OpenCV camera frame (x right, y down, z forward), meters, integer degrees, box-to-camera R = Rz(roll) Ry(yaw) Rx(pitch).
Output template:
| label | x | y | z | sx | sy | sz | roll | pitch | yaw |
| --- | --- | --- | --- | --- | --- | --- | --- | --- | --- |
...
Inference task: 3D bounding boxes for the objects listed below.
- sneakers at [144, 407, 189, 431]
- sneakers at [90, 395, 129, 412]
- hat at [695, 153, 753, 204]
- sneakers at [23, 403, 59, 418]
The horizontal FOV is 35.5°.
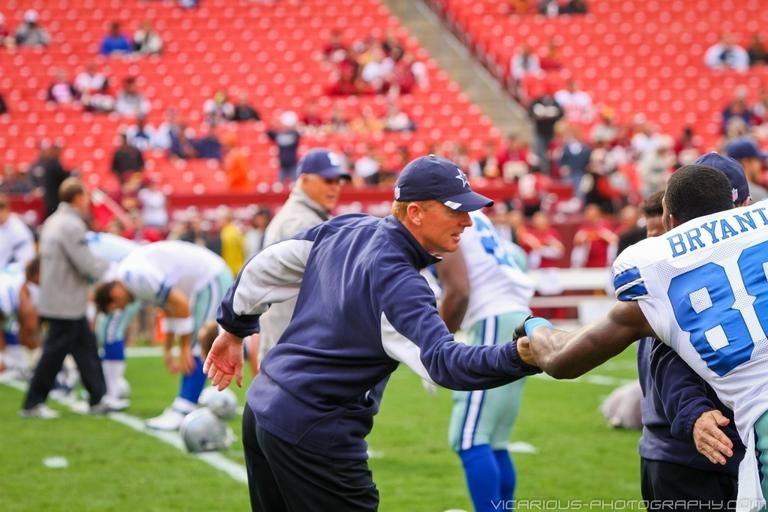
| label | x | y | z | sx | sy | sz | roll | pitch | yaw |
| --- | --- | --- | --- | --- | --- | --- | --- | --- | --- |
| sneakers | -2.786 | 2.132 | 15.492 | 0.656 | 0.263 | 0.234 | 1 | -7 | -3 |
| sneakers | -3.636 | 1.982 | 15.906 | 0.519 | 0.212 | 0.169 | -5 | 4 | -14 |
| hat | 3.493 | -0.798 | 12.605 | 0.526 | 0.407 | 0.760 | -17 | -10 | 16 |
| sneakers | -4.399 | 1.992 | 15.358 | 0.504 | 0.208 | 0.175 | 1 | -3 | -10 |
